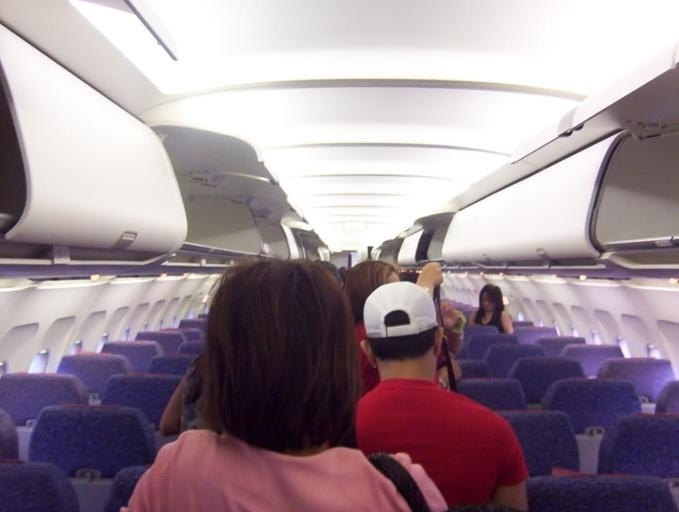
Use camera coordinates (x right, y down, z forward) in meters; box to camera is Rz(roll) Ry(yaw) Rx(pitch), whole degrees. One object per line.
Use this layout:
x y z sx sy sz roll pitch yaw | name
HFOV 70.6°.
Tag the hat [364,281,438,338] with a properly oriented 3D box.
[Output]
0.347 0.285 2.879 0.393 0.314 0.652 -4 -1 12 | hat
